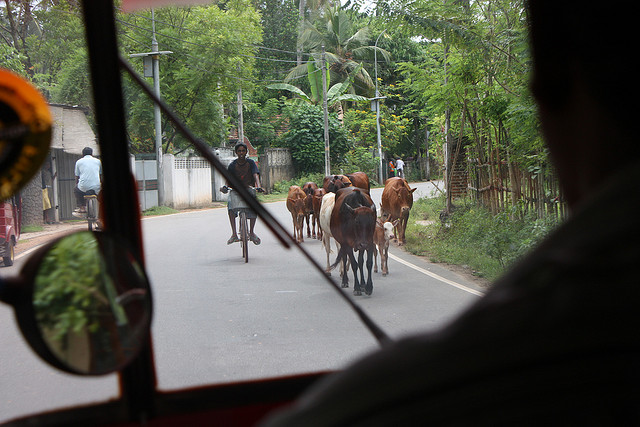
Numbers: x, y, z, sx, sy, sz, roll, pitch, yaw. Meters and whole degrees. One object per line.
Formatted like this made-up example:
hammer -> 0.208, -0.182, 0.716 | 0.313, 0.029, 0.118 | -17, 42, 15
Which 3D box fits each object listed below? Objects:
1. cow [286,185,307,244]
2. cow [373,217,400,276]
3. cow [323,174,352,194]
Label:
cow -> -0.427, -0.055, 9.765 | 0.296, 0.709, 1.203 | -8, 9, -11
cow -> 0.758, 0.386, 6.247 | 0.299, 0.639, 0.932 | -2, 1, -5
cow -> 0.277, -0.453, 8.084 | 0.253, 0.416, 0.733 | -2, 1, -4
